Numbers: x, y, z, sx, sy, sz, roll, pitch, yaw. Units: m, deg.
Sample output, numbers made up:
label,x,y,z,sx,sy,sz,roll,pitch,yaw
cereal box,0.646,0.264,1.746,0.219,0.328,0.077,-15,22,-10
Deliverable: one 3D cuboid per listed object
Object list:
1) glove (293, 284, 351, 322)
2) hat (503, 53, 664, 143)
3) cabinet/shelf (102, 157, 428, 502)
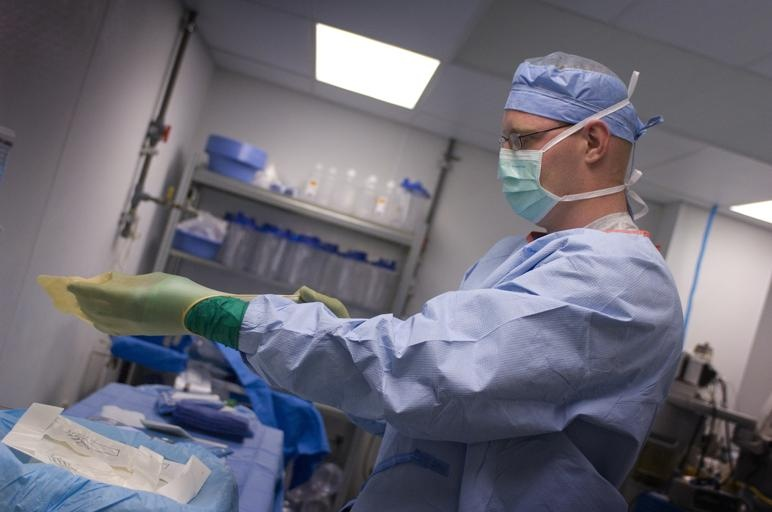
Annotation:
label,x,y,z,sx,sy,sz,roll,pitch,yaw
glove,-0.223,0.167,2.462,0.143,0.050,0.144,25,-4,41
hat,0.721,-0.599,2.611,0.587,0.303,0.468,17,4,19
cabinet/shelf,-0.666,0.371,3.427,1.614,1.703,0.516,22,1,-5
